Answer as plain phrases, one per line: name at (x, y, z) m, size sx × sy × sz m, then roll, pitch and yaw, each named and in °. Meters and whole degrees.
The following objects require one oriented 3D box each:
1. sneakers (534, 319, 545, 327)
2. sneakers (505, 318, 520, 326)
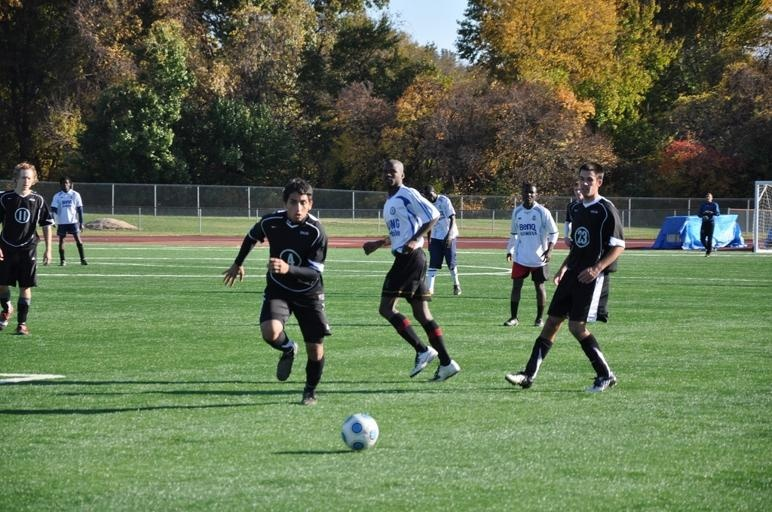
sneakers at (4.985, 2.205, 38.110) m, size 0.433 × 0.169 × 0.140 m, roll -4°, pitch 8°, yaw -34°
sneakers at (4.048, 2.211, 38.088) m, size 0.537 × 0.212 × 0.189 m, roll 7°, pitch -10°, yaw -41°
